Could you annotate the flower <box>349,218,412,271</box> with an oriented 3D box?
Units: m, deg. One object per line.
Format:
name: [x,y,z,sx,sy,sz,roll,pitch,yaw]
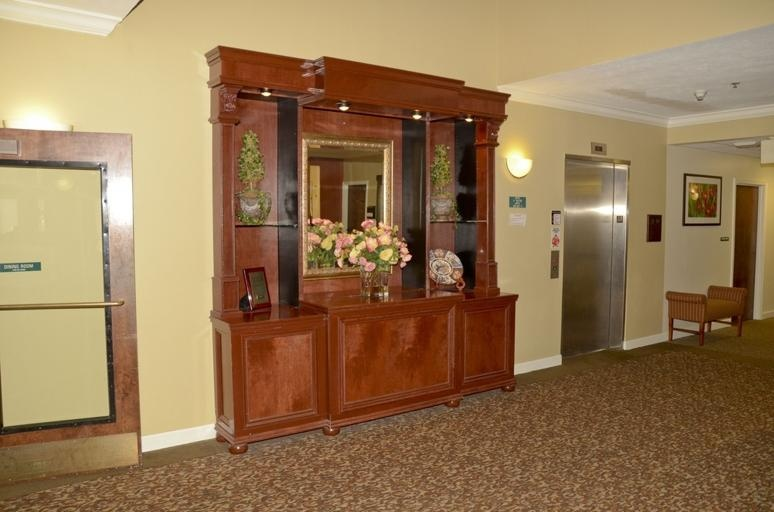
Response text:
flower: [-0.075,-0.074,6.005,0.629,0.590,0.524,21,-3,-9]

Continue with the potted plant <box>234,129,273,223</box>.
potted plant: [-1.359,-0.791,5.592,0.370,0.954,0.326,-6,14,-25]

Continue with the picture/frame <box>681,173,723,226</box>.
picture/frame: [5.438,-0.986,9.521,0.985,0.853,0.068,-5,3,-39]

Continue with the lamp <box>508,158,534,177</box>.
lamp: [1.764,-1.154,7.217,0.412,0.248,0.241,-4,4,-37]

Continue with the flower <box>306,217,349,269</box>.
flower: [-0.673,-0.127,6.026,0.541,0.499,0.298,2,3,-7]
